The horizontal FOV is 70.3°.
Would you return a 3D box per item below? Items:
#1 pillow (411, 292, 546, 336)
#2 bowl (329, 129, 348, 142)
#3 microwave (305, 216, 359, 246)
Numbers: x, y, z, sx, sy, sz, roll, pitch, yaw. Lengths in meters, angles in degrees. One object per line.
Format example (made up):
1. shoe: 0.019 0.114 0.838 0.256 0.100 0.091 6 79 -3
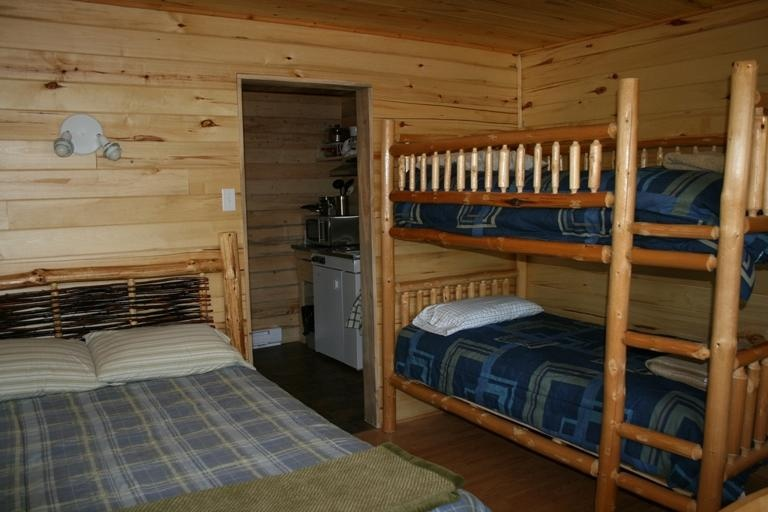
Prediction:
1. pillow: 0.768 0.428 4.034 0.835 0.093 0.315 -3 7 -22
2. bowl: -0.483 -1.294 5.856 0.226 0.153 0.100 1 16 5
3. microwave: -0.571 -0.265 5.606 0.480 0.212 0.627 -1 4 -30
